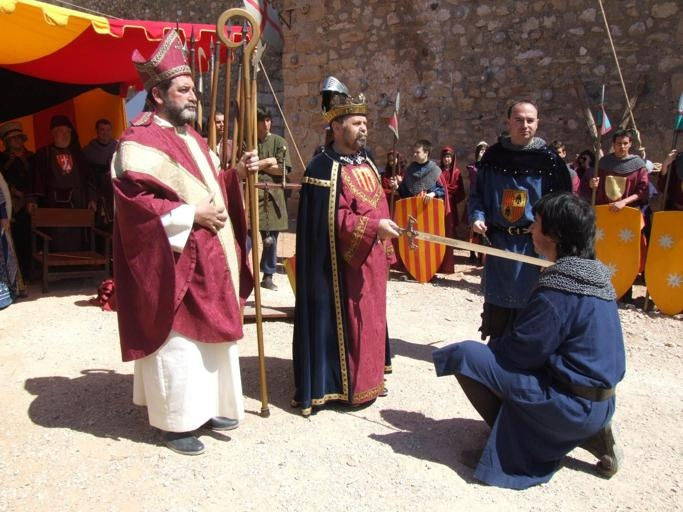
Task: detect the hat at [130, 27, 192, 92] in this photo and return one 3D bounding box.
[{"bbox_3d":[-1.211,-1.380,4.659,0.424,0.371,0.331,-24,4,9],"label":"hat"}]

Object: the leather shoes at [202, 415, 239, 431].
[{"bbox_3d":[-0.864,1.221,4.871,0.256,0.123,0.104,-2,-1,4],"label":"leather shoes"}]

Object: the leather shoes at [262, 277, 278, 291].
[{"bbox_3d":[-0.882,0.329,8.262,0.197,0.149,0.225,0,9,-6],"label":"leather shoes"}]

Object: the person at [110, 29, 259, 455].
[{"bbox_3d":[-1.083,-0.191,4.610,0.928,2.693,0.523,-3,9,-22],"label":"person"}]

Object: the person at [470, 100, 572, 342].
[{"bbox_3d":[1.494,-0.132,5.671,0.751,2.353,0.722,5,20,21],"label":"person"}]

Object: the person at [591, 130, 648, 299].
[{"bbox_3d":[3.368,-0.498,8.140,0.619,2.045,0.544,7,17,42],"label":"person"}]

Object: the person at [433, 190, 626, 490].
[{"bbox_3d":[1.327,0.571,4.629,1.099,2.066,0.970,0,6,-15],"label":"person"}]

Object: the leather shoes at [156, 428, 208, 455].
[{"bbox_3d":[-1.091,1.294,4.666,0.260,0.121,0.143,7,9,34],"label":"leather shoes"}]

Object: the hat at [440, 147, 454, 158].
[{"bbox_3d":[1.533,-1.499,9.749,0.158,0.192,0.182,-2,6,-30],"label":"hat"}]

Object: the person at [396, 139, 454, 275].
[{"bbox_3d":[1.190,-0.667,9.359,0.756,1.912,0.586,7,32,32],"label":"person"}]

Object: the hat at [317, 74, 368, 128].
[{"bbox_3d":[0.042,-1.213,5.181,0.356,0.358,0.279,23,30,35],"label":"hat"}]

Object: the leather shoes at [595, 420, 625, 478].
[{"bbox_3d":[1.792,1.313,4.501,0.162,0.430,0.146,-5,4,-1],"label":"leather shoes"}]

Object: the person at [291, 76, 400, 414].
[{"bbox_3d":[0.024,-0.070,5.145,0.776,2.521,0.498,0,8,-5],"label":"person"}]

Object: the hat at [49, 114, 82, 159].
[{"bbox_3d":[-3.396,-1.508,8.242,0.315,0.566,0.303,0,17,-21],"label":"hat"}]
